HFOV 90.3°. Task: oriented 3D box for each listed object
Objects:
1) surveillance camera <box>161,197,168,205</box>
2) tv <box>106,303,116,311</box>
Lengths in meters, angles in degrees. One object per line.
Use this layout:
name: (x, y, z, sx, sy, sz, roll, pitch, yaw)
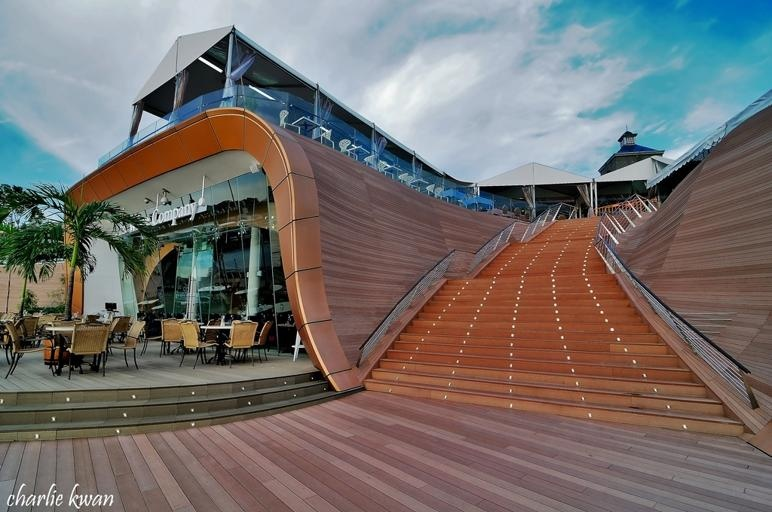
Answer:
surveillance camera: (-9.027, -2.297, 15.771, 0.289, 0.259, 0.352, 1, -6, -4)
tv: (-12.922, 2.425, 18.210, 0.392, 0.249, 0.110, -1, -13, 10)
